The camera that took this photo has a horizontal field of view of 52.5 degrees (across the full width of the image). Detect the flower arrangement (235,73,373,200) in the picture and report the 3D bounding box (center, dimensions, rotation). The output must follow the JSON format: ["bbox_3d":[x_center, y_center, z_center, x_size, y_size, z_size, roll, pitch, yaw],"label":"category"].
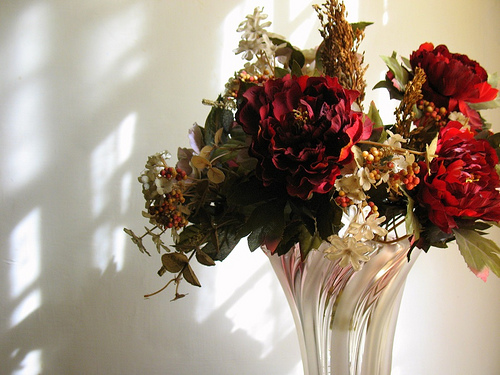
[{"bbox_3d":[0.054,-0.136,0.985,0.262,0.288,0.149,9,-64,17],"label":"flower arrangement"}]
